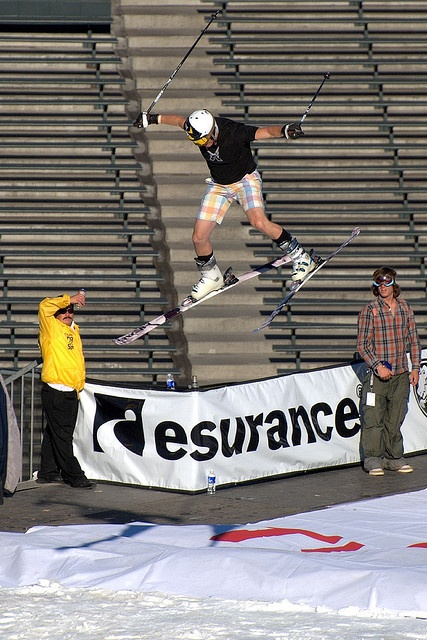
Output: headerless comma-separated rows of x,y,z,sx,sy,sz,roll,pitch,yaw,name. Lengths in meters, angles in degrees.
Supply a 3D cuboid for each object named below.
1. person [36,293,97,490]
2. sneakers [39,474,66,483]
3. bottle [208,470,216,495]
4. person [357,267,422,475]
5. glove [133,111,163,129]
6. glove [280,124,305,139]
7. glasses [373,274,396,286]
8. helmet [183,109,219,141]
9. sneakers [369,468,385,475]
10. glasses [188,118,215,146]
-1.211,0.592,10.607,0.394,1.467,0.646,-6,-2,-35,person
-1.337,1.313,10.782,0.236,0.088,0.074,6,12,-10,sneakers
-0.016,1.284,10.322,0.073,0.168,0.086,-7,-1,-2,bottle
1.481,0.434,11.101,0.604,1.722,0.612,-7,-1,6,person
-0.568,-1.756,11.350,0.230,0.142,0.406,-6,-2,-1,glove
0.658,-1.539,10.661,0.166,0.113,0.065,9,-14,28,glove
1.442,-0.315,10.894,0.107,0.053,0.119,-1,-29,17,glasses
-0.073,-1.602,10.807,0.271,0.202,0.251,-36,-29,-22,helmet
1.361,1.267,10.892,0.129,0.070,0.096,-6,-2,4,sneakers
-0.078,-1.570,10.778,0.201,0.227,0.227,-13,-30,22,glasses
